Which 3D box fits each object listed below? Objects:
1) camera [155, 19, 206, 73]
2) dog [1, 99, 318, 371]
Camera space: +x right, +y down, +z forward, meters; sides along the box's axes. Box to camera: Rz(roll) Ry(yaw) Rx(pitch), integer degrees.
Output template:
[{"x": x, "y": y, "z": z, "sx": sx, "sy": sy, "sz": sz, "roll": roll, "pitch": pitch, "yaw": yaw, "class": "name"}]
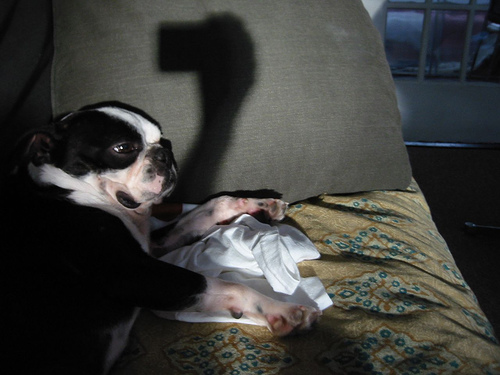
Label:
[{"x": -0.175, "y": -0.330, "z": 1.041, "sx": 0.150, "sy": 0.116, "sz": 0.032, "roll": -8, "pitch": 12, "yaw": -18, "class": "camera"}, {"x": -0.178, "y": 0.091, "z": 0.873, "sx": 0.532, "sy": 0.366, "sz": 0.558, "roll": 5, "pitch": 33, "yaw": 6, "class": "dog"}]
